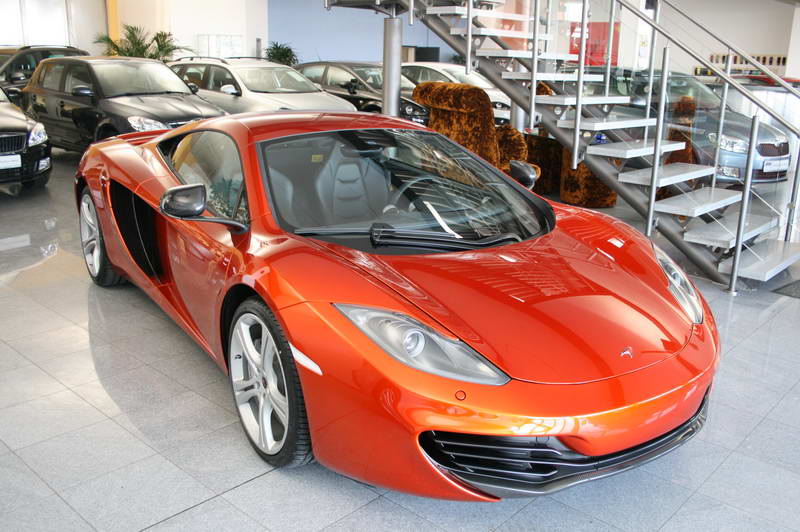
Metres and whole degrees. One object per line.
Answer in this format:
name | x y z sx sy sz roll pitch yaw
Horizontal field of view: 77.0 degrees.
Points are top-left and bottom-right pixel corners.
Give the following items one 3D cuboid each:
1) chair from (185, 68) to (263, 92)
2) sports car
chair | -3.433 -3.422 9.521 1.347 0.465 0.787 12 21 29
sports car | -0.384 -0.332 3.399 2.351 1.079 4.327 -16 32 -39
